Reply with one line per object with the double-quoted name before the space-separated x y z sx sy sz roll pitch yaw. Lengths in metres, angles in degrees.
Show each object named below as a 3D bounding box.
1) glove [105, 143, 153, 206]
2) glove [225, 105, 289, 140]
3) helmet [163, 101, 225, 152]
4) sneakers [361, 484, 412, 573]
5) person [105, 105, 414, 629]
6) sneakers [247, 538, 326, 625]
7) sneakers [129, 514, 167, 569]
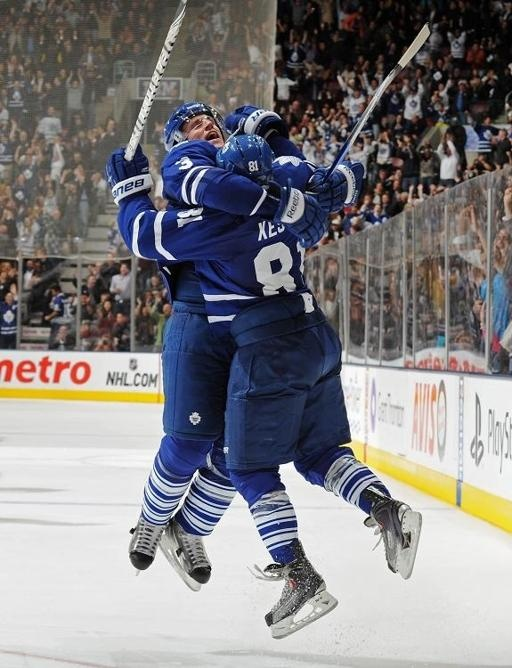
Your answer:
"glove" -0.413 -0.536 3.098 0.160 0.173 0.187 -6 -7 -10
"glove" -0.012 -0.716 3.118 0.157 0.069 0.195 3 15 -24
"helmet" -0.224 -0.698 3.163 0.215 0.170 0.165 5 3 28
"sneakers" 0.399 0.566 2.787 0.154 0.282 0.099 4 27 16
"person" -0.041 0.083 3.015 0.693 1.439 1.145 2 -1 -41
"sneakers" 0.094 0.757 2.777 0.112 0.203 0.219 2 -1 -45
"sneakers" -0.405 0.789 3.420 0.085 0.109 0.254 24 34 -22
